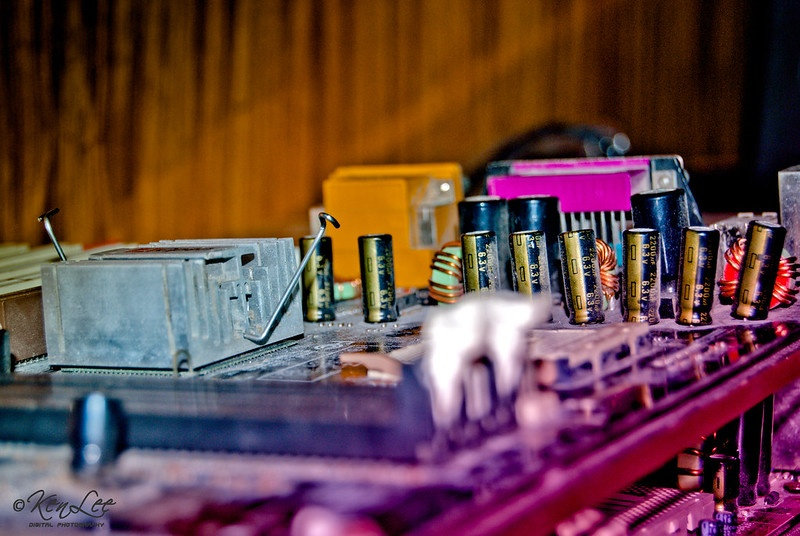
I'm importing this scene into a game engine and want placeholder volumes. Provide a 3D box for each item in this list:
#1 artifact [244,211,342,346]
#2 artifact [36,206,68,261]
[{"bbox_3d":[-0.229,0.028,1.836,0.070,0.407,0.079,29,-8,-15],"label":"artifact"},{"bbox_3d":[-0.816,-0.084,1.959,0.071,0.122,0.036,-4,22,33],"label":"artifact"}]
